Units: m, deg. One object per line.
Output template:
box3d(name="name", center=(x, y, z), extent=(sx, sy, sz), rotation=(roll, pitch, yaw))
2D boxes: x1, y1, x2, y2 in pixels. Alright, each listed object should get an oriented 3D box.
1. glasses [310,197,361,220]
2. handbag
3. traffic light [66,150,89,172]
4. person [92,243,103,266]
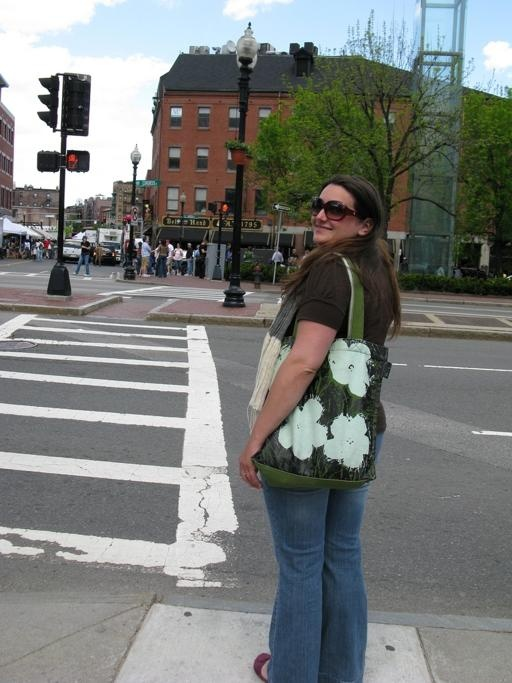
box3d(name="glasses", center=(0.227, -0.398, 1.965), extent=(0.094, 0.033, 0.093), rotation=(17, 4, -44))
box3d(name="handbag", center=(0.191, 0.100, 1.794), extent=(0.359, 0.661, 0.274), rotation=(4, 8, 3))
box3d(name="traffic light", center=(-4.151, -4.158, 15.102), extent=(0.562, 0.478, 0.261), rotation=(4, 8, 5))
box3d(name="person", center=(-11.318, -6.144, 46.488), extent=(0.545, 1.384, 1.788), rotation=(2, 8, -14))
